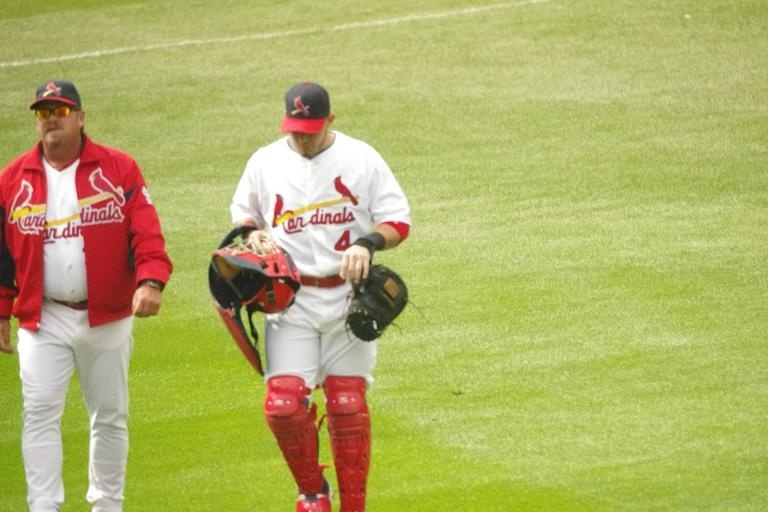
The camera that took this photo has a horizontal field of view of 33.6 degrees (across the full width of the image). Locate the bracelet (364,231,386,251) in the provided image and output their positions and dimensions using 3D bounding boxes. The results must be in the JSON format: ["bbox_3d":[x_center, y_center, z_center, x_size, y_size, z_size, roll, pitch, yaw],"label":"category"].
[{"bbox_3d":[-0.054,-0.064,6.947,0.106,0.090,0.115,23,-20,-4],"label":"bracelet"}]

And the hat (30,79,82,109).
[{"bbox_3d":[-1.792,-0.868,6.884,0.261,0.151,0.148,-1,12,-11],"label":"hat"}]

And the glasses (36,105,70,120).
[{"bbox_3d":[-1.789,-0.768,6.845,0.183,0.069,0.052,-2,12,-12],"label":"glasses"}]

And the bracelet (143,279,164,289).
[{"bbox_3d":[-1.244,0.152,6.847,0.075,0.029,0.053,16,2,-3],"label":"bracelet"}]

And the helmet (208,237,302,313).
[{"bbox_3d":[-0.722,0.106,6.976,0.517,0.321,0.384,8,10,28],"label":"helmet"}]

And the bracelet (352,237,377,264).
[{"bbox_3d":[-0.096,-0.019,6.920,0.126,0.060,0.147,4,-29,17],"label":"bracelet"}]

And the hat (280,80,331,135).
[{"bbox_3d":[-0.438,-0.831,6.902,0.299,0.204,0.374,5,39,4],"label":"hat"}]
